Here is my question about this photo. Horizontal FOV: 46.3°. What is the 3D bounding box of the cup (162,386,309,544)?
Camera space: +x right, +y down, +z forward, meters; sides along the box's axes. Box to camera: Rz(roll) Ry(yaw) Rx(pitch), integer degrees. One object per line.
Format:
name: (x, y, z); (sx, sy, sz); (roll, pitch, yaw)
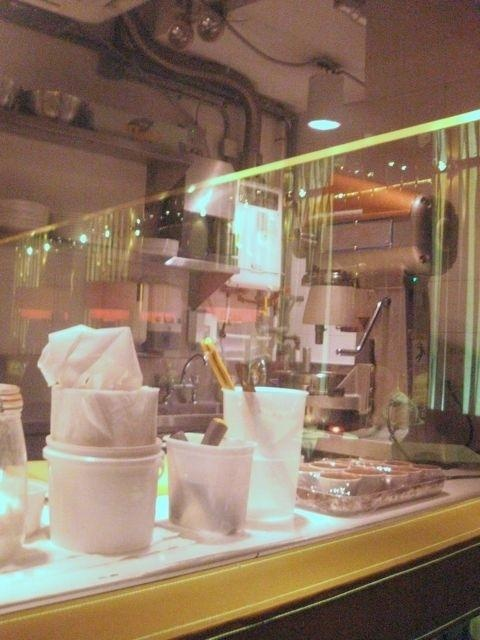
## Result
cup: (0.019, 0.156, 0.602); (0.162, 0.129, 0.133); (-1, -15, 8)

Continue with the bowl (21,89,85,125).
bowl: (-0.180, -0.204, 0.533); (0.015, 0.025, 0.062); (3, 3, 43)

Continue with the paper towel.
paper towel: (-0.129, 0.058, 0.511); (0.112, 0.101, 0.097); (3, -6, -30)
